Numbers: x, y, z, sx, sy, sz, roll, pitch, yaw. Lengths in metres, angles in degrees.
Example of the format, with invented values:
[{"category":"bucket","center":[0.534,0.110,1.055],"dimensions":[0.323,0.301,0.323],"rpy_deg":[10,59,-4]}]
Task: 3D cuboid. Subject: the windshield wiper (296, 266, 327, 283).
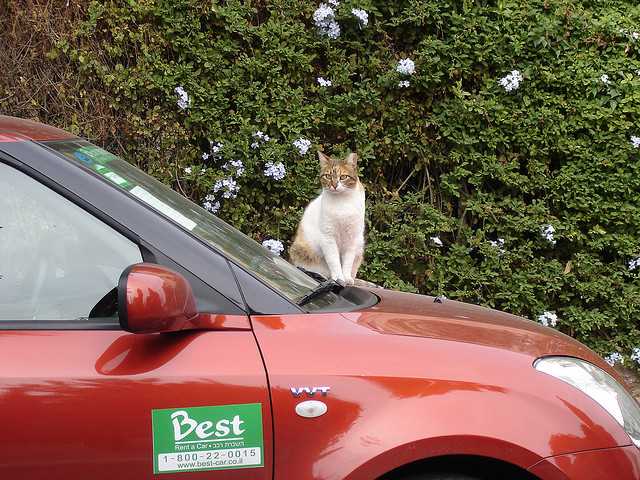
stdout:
[{"category":"windshield wiper","center":[-0.049,0.222,5.332],"dimensions":[0.173,0.040,0.084],"rpy_deg":[40,76,-9]}]
